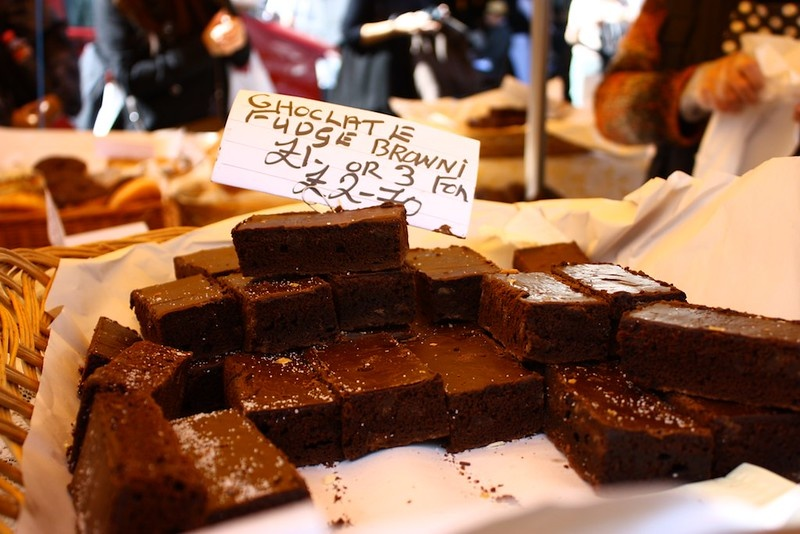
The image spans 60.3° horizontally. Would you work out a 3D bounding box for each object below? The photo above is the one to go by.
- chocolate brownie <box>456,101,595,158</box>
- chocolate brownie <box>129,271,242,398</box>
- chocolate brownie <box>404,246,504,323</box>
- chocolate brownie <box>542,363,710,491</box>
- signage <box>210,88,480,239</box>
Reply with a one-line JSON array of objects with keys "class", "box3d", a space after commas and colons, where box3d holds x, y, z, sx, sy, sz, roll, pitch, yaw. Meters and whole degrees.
[{"class": "chocolate brownie", "box3d": [0.889, -0.974, 5.151, 0.705, 0.206, 0.520, 4, 21, 1]}, {"class": "chocolate brownie", "box3d": [-0.920, 0.276, 2.952, 0.374, 0.233, 0.361, -10, 29, -32]}, {"class": "chocolate brownie", "box3d": [0.216, 0.062, 3.235, 0.291, 0.187, 0.387, -5, 24, -14]}, {"class": "chocolate brownie", "box3d": [0.957, 0.638, 2.837, 0.480, 0.227, 0.631, 0, 10, 1]}, {"class": "signage", "box3d": [-0.035, -0.391, 3.200, 1.439, 0.640, 0.085, 0, -14, -40]}]
